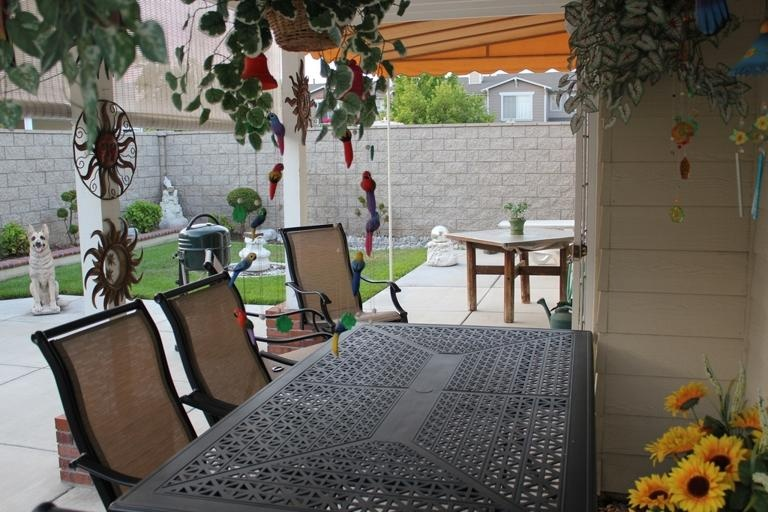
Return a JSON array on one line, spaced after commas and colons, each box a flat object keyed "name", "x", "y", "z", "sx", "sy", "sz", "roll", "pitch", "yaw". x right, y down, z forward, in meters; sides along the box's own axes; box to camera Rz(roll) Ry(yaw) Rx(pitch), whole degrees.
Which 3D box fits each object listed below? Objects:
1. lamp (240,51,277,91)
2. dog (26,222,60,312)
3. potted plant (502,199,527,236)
[{"name": "lamp", "x": -0.438, "y": -0.628, "z": 1.889, "sx": 0.125, "sy": 0.130, "sz": 0.127, "roll": -3, "pitch": 8, "yaw": -15}, {"name": "dog", "x": -3.984, "y": 0.115, "z": 6.382, "sx": 0.383, "sy": 1.019, "sz": 0.732, "roll": -4, "pitch": 7, "yaw": -29}, {"name": "potted plant", "x": 1.491, "y": -0.431, "z": 6.162, "sx": 0.309, "sy": 0.358, "sz": 0.265, "roll": 1, "pitch": 4, "yaw": 44}]
